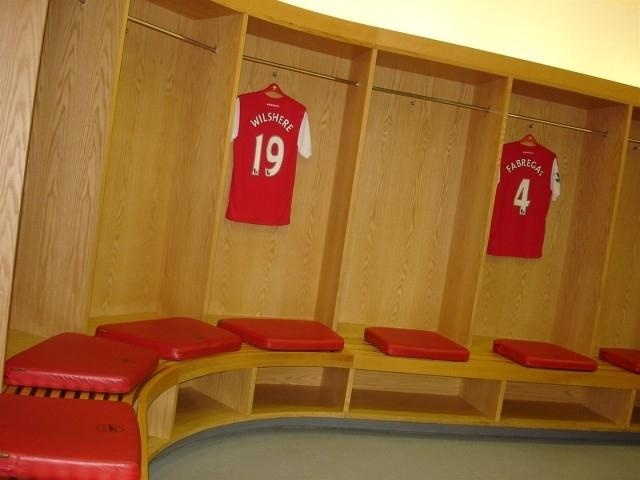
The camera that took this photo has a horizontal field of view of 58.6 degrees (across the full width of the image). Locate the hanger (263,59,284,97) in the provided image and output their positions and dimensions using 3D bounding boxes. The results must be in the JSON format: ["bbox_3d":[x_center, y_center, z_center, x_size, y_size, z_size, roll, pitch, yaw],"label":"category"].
[{"bbox_3d":[-0.309,-1.108,3.987,0.126,0.228,0.353,5,6,-5],"label":"hanger"}]
